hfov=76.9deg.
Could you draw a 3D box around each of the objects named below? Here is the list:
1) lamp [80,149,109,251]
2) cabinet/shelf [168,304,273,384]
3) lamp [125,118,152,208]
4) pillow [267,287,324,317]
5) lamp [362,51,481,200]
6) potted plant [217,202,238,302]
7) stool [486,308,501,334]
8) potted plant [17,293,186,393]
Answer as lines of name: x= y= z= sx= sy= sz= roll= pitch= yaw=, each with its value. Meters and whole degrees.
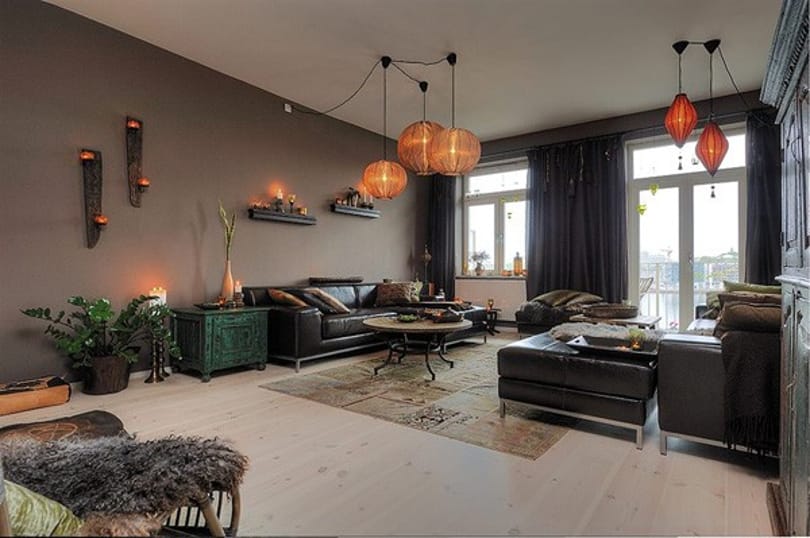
lamp: x=-3.265 y=-0.732 z=5.342 sx=0.216 sy=1.027 sz=0.136 roll=-3 pitch=4 yaw=-33
cabinet/shelf: x=-2.195 y=0.823 z=5.982 sx=0.899 sy=0.727 sz=0.919 roll=1 pitch=1 yaw=29
lamp: x=-2.947 y=-1.168 z=5.611 sx=0.228 sy=0.976 sz=0.135 roll=-3 pitch=4 yaw=-32
pillow: x=-1.372 y=0.350 z=6.310 sx=0.465 sy=0.231 sz=0.806 roll=-3 pitch=3 yaw=-33
lamp: x=0.170 y=-1.710 z=6.257 sx=1.572 sy=1.514 sz=0.887 roll=-4 pitch=-3 yaw=29
potted plant: x=-2.154 y=-0.221 z=6.205 sx=0.235 sy=1.222 sz=0.605 roll=-2 pitch=3 yaw=-19
stool: x=1.439 y=0.855 z=8.425 sx=0.390 sy=0.397 sz=0.394 roll=-1 pitch=-5 yaw=2
potted plant: x=-3.075 y=0.749 z=5.254 sx=1.292 sy=0.971 sz=0.671 roll=-3 pitch=3 yaw=-28
